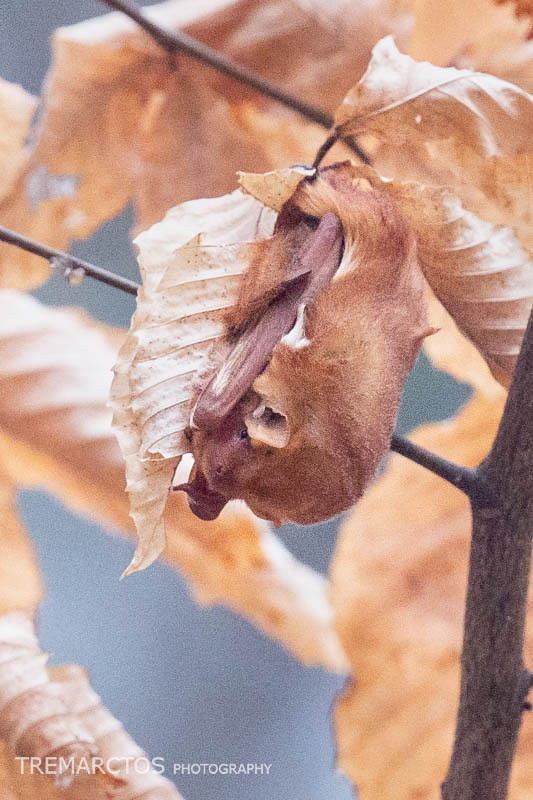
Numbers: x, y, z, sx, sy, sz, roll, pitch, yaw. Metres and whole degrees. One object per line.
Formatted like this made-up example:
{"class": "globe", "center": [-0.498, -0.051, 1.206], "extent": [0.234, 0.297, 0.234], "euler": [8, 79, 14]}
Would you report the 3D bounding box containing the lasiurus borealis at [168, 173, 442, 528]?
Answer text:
{"class": "lasiurus borealis", "center": [-0.003, -0.046, 1.079], "extent": [0.121, 0.257, 0.247], "euler": [19, 1, 40]}
